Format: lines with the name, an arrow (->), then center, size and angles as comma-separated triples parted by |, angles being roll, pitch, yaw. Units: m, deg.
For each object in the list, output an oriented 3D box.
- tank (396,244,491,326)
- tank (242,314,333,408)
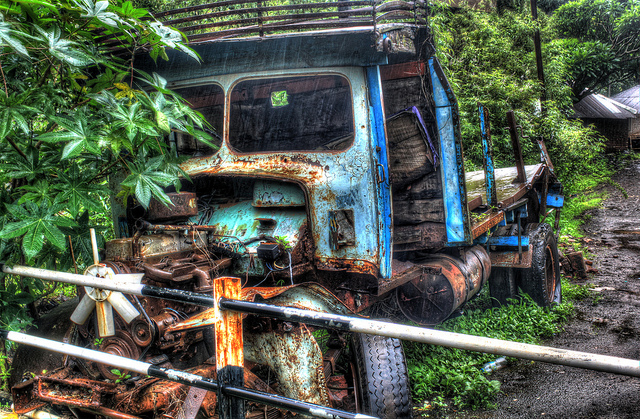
tank -> 1.835, 0.924, 6.926 | 0.766, 0.783, 1.582 | 7, 14, 39
tank -> -0.284, 1.335, 4.534 | 0.316, 1.107, 0.691 | -15, -18, -37
